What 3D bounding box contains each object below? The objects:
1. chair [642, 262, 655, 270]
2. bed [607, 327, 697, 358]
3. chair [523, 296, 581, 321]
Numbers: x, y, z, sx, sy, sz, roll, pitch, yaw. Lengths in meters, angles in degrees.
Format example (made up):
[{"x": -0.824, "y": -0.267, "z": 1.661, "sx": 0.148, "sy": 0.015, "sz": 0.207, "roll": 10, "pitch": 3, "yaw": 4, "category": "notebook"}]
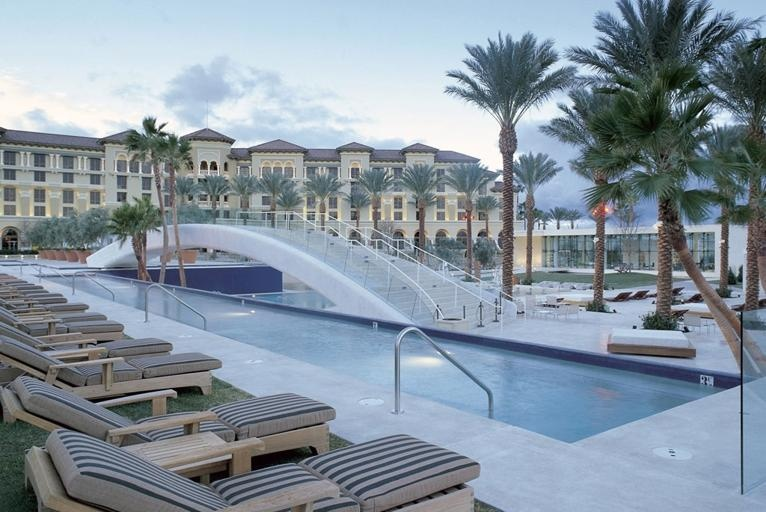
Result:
[{"x": 26.693, "y": 0.996, "z": 55.210, "sx": 1.430, "sy": 0.879, "sz": 0.731, "roll": -2, "pitch": -6, "yaw": 38, "category": "chair"}, {"x": 6.745, "y": 2.305, "z": 13.894, "sx": 1.979, "sy": 0.572, "sz": 0.875, "roll": 1, "pitch": 2, "yaw": 17, "category": "bed"}, {"x": 6.414, "y": 2.135, "z": 21.099, "sx": 1.482, "sy": 0.844, "sz": 1.476, "roll": 0, "pitch": 2, "yaw": -30, "category": "chair"}]
